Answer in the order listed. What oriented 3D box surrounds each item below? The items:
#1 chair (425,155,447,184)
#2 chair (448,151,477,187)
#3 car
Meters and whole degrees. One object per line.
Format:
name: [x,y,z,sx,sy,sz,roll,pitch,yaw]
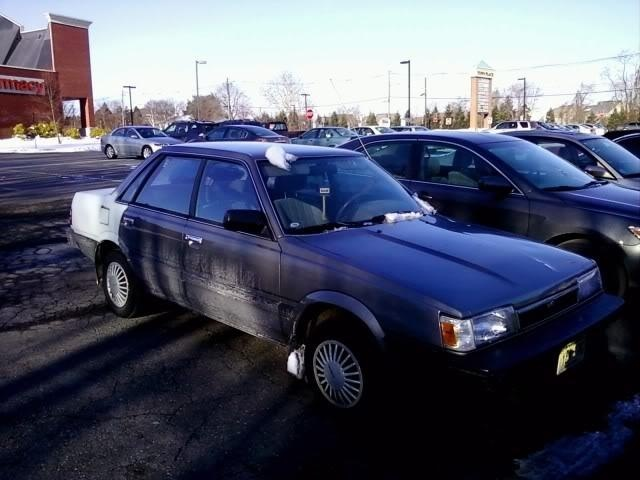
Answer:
chair: [1.626,-1.080,5.667,0.300,0.462,0.436,5,13,16]
chair: [1.944,-0.971,5.408,0.326,0.534,0.510,2,8,10]
car: [0.018,0.155,3.688,4.420,1.934,1.562,11,17,35]
